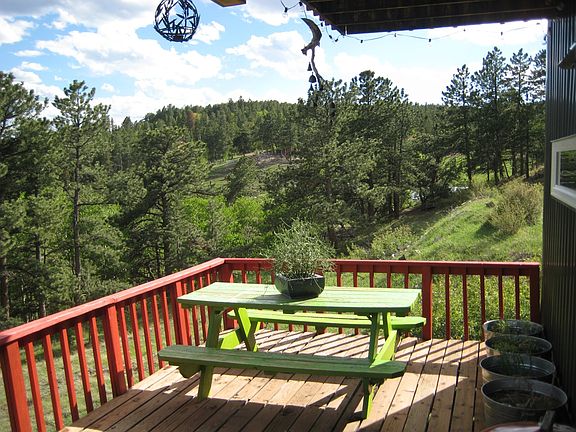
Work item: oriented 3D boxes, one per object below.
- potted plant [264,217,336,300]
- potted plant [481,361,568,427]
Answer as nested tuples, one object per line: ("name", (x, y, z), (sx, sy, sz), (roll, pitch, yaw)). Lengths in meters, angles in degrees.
("potted plant", (0.110, 0.413, 4.456), (0.604, 0.726, 0.572), (-1, -1, 41))
("potted plant", (1.782, 1.406, 3.712), (0.517, 0.477, 0.585), (2, 8, 19))
